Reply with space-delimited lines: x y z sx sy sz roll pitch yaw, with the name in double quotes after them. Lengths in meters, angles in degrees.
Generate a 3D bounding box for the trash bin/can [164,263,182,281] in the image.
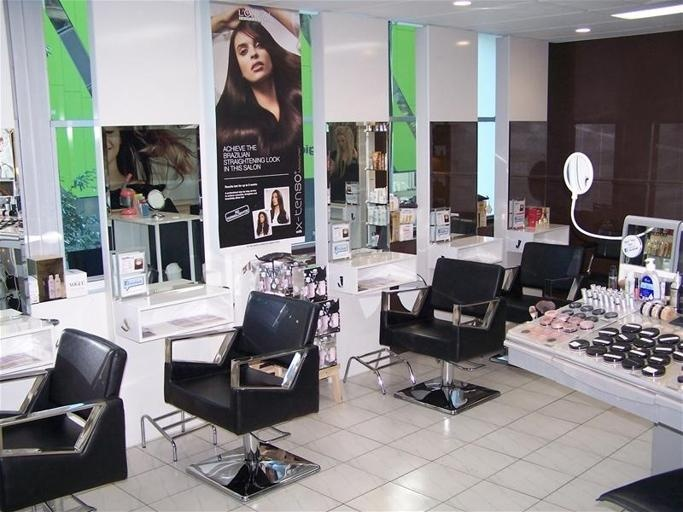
-1.279 0.109 4.088 0.120 0.116 0.117 -16 18 -40 "trash bin/can"

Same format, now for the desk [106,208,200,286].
-1.383 -0.085 3.931 0.502 0.487 0.511 6 8 41 "desk"

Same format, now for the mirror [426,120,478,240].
1.213 -0.820 5.746 0.727 1.227 0.103 -9 14 -34 "mirror"

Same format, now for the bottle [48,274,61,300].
-1.964 0.207 3.640 0.081 0.166 0.017 -7 13 -29 "bottle"
